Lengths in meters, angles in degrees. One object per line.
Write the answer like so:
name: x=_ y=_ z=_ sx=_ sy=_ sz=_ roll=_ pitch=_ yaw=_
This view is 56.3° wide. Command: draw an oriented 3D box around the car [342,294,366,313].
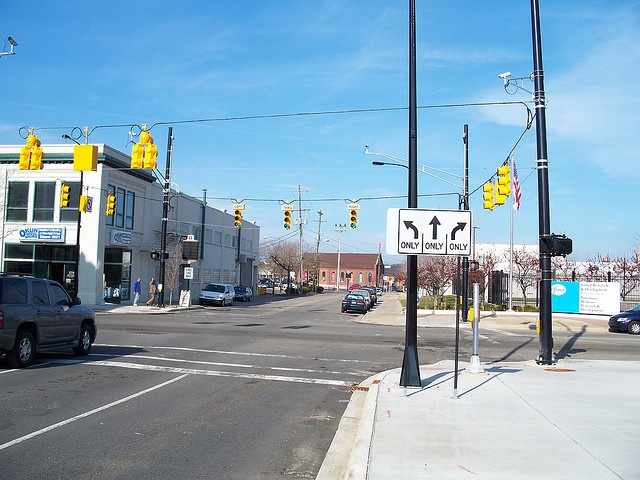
car: x=2.441 y=4.609 z=43.741 sx=1.846 sy=1.356 sz=1.547 roll=0 pitch=-5 yaw=2

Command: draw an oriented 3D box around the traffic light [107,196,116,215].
traffic light: x=-10.930 y=-1.885 z=31.153 sx=0.314 sy=0.954 sz=0.778 roll=3 pitch=-5 yaw=-29

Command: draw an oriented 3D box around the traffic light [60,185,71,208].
traffic light: x=-12.411 y=-2.194 z=29.022 sx=0.334 sy=1.207 sz=1.480 roll=2 pitch=-5 yaw=-26

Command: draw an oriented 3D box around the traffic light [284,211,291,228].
traffic light: x=-1.947 y=-1.191 z=34.661 sx=0.321 sy=1.184 sz=1.286 roll=1 pitch=-5 yaw=-9

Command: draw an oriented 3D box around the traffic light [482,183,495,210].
traffic light: x=8.057 y=-2.128 z=28.527 sx=0.480 sy=1.353 sz=0.697 roll=-1 pitch=-4 yaw=15

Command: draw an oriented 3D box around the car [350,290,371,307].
car: x=3.226 y=4.432 z=45.866 sx=1.039 sy=0.895 sz=1.843 roll=2 pitch=3 yaw=11

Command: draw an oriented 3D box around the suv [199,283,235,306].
suv: x=-7.906 y=4.177 z=46.208 sx=1.459 sy=1.055 sz=2.447 roll=0 pitch=-9 yaw=6

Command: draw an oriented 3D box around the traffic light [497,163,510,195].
traffic light: x=8.178 y=-2.746 z=26.671 sx=0.518 sy=1.299 sz=1.035 roll=-1 pitch=-5 yaw=16

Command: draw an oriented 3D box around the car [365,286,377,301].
car: x=5.159 y=5.537 z=61.366 sx=1.369 sy=1.227 sz=2.383 roll=0 pitch=3 yaw=10
